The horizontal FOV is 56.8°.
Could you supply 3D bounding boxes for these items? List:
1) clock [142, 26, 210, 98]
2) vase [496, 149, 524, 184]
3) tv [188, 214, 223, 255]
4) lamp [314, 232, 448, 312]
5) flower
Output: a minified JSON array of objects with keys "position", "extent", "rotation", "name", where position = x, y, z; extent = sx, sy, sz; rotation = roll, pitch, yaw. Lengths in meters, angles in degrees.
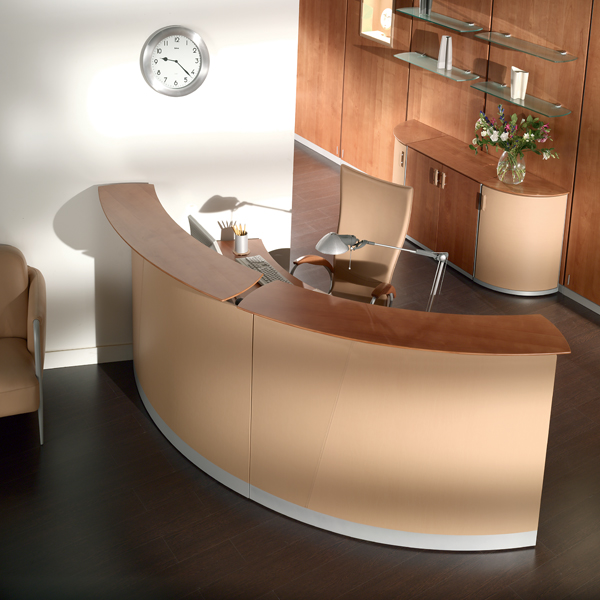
[{"position":[-0.760,-1.469,3.453],"extent":[0.417,0.425,0.071],"rotation":[2,3,6],"name":"clock"},{"position":[1.923,-1.202,5.044],"extent":[0.230,0.335,0.231],"rotation":[-8,37,8],"name":"vase"},{"position":[-0.618,-0.429,3.604],"extent":[0.172,0.298,0.172],"rotation":[-31,68,-20],"name":"tv"},{"position":[0.615,-0.184,4.128],"extent":[0.659,0.701,0.297],"rotation":[7,56,2],"name":"lamp"},{"position":[1.925,-1.517,5.143],"extent":[0.730,0.641,0.732],"rotation":[-3,27,-11],"name":"flower"}]
